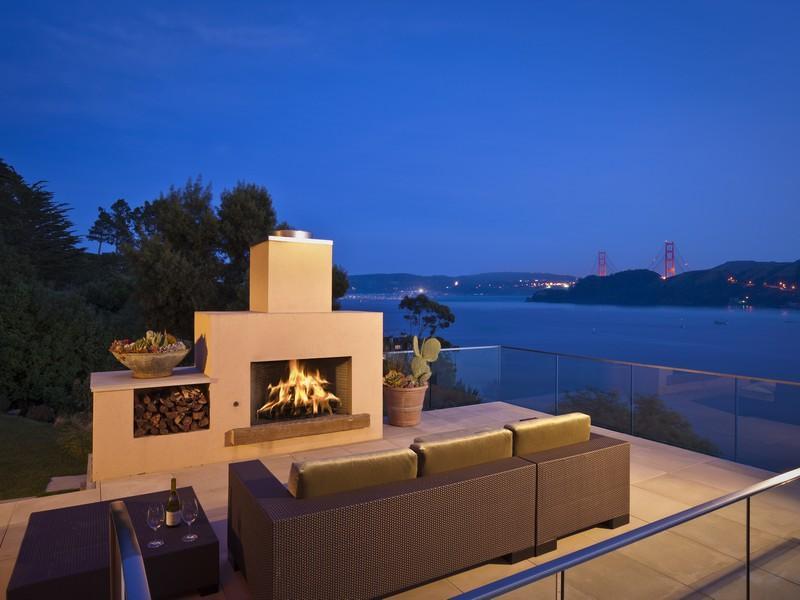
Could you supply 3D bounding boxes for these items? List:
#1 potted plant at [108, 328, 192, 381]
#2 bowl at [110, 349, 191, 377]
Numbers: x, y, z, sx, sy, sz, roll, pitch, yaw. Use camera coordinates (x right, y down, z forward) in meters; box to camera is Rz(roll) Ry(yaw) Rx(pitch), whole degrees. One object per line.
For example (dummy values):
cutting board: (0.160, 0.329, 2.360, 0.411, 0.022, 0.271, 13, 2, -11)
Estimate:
potted plant: (-2.999, 0.645, 7.017, 0.632, 0.402, 0.665, 4, -1, 13)
bowl: (-2.947, 0.756, 7.014, 0.798, 0.336, 0.392, -3, 2, -24)
